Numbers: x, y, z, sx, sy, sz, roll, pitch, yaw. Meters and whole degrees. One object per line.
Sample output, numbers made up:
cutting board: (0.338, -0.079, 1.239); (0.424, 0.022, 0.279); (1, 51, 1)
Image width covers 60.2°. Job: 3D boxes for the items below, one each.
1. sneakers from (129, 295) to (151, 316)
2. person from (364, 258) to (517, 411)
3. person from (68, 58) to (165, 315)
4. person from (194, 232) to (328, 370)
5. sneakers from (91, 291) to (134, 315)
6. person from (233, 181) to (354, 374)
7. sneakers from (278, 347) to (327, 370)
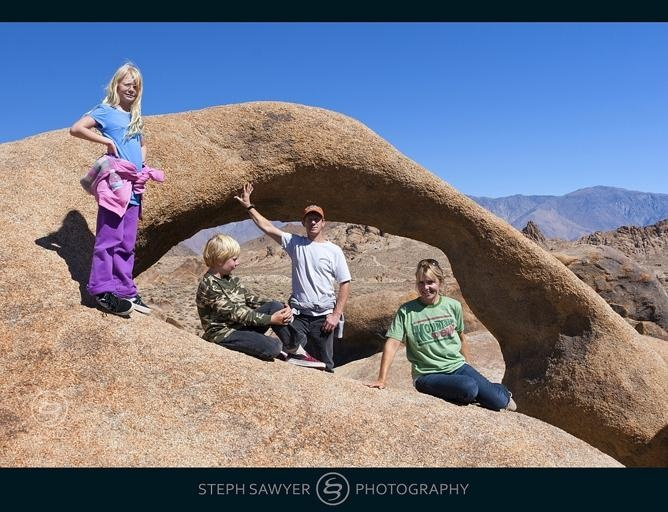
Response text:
sneakers: (-1.561, 0.379, 4.499); (0.230, 0.087, 0.081); (25, 12, 17)
person: (0.879, 0.647, 4.614); (1.316, 1.169, 0.755); (-1, 4, -4)
person: (-1.587, -0.448, 4.245); (0.606, 1.880, 0.571); (-5, 14, -16)
person: (-0.576, 0.380, 4.690); (1.074, 0.931, 0.488); (8, 7, 1)
sneakers: (-1.633, 0.369, 4.281); (0.321, 0.133, 0.125); (15, -26, 22)
person: (-0.362, 0.405, 4.820); (1.130, 1.849, 0.615); (1, 11, -22)
sneakers: (-0.263, 0.884, 4.936); (0.445, 0.146, 0.156); (9, -3, -1)
